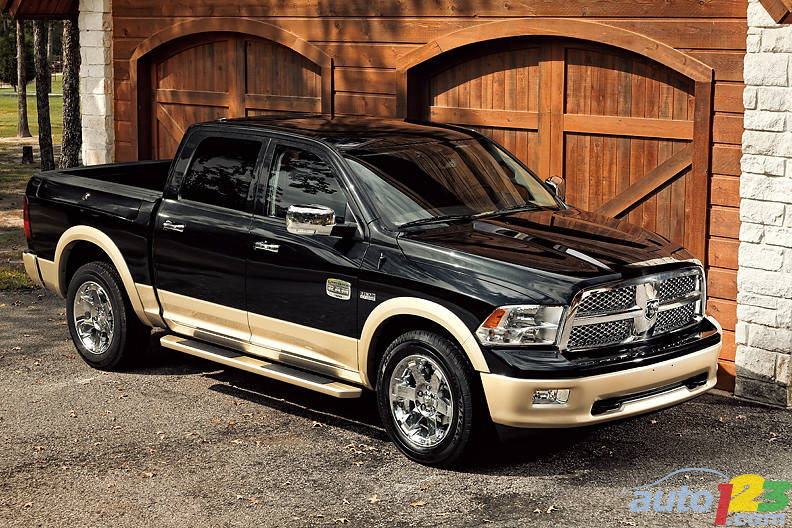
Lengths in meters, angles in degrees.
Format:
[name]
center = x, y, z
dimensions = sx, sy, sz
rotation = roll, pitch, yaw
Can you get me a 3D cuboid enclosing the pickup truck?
[pickup truck]
center = -0.673, -0.107, 7.017
dimensions = 7.390, 2.878, 2.709
rotation = 8, 17, 32
